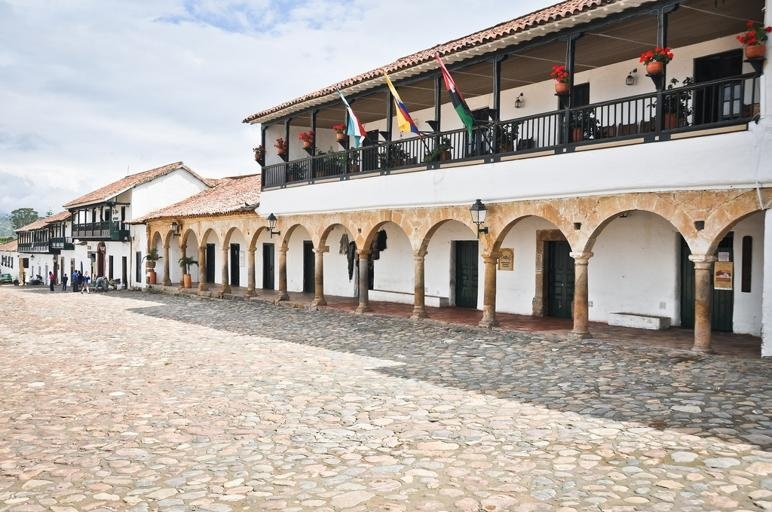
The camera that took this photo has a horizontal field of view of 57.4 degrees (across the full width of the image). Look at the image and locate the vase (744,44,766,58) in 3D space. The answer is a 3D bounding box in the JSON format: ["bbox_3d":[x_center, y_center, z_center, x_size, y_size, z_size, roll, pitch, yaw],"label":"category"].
[{"bbox_3d":[6.699,-3.694,12.747,0.299,0.172,0.279,0,1,24],"label":"vase"}]

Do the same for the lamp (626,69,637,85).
[{"bbox_3d":[5.782,-4.191,16.544,0.270,0.400,0.102,5,12,33],"label":"lamp"}]

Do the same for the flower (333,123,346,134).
[{"bbox_3d":[-1.349,-3.733,20.430,0.405,0.230,0.351,2,0,-15],"label":"flower"}]

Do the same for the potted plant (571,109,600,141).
[{"bbox_3d":[4.366,-2.864,15.426,0.592,0.728,1.834,2,9,15],"label":"potted plant"}]

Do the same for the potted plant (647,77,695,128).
[{"bbox_3d":[5.868,-3.208,14.617,0.947,1.228,3.263,3,9,22],"label":"potted plant"}]

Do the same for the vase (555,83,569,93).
[{"bbox_3d":[3.691,-3.532,14.804,0.254,0.143,0.231,-1,3,-22],"label":"vase"}]

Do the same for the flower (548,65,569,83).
[{"bbox_3d":[3.675,-3.794,14.826,0.311,0.335,0.410,1,9,10],"label":"flower"}]

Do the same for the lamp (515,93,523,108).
[{"bbox_3d":[3.574,-4.167,18.921,0.078,0.380,0.298,-7,11,-32],"label":"lamp"}]

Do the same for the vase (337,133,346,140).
[{"bbox_3d":[-1.339,-3.497,20.625,0.211,0.102,0.189,0,3,-16],"label":"vase"}]

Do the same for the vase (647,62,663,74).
[{"bbox_3d":[5.111,-3.574,13.378,0.298,0.235,0.193,2,10,18],"label":"vase"}]

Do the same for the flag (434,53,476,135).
[{"bbox_3d":[1.659,-3.856,16.827,0.914,1.862,1.878,0,9,7],"label":"flag"}]

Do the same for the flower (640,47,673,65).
[{"bbox_3d":[5.228,-3.808,13.493,0.564,0.241,0.535,-1,11,30],"label":"flower"}]

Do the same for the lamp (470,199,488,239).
[{"bbox_3d":[2.215,-0.893,16.739,0.413,0.925,0.566,1,10,10],"label":"lamp"}]

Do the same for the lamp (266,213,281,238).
[{"bbox_3d":[-3.738,-1.030,23.288,0.409,0.793,0.717,-3,9,-9],"label":"lamp"}]

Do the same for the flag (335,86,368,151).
[{"bbox_3d":[-0.939,-3.704,18.953,0.452,1.692,0.309,-23,34,-9],"label":"flag"}]

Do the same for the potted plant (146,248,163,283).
[{"bbox_3d":[-10.812,0.437,32.621,0.693,1.681,1.801,-4,10,-18],"label":"potted plant"}]
